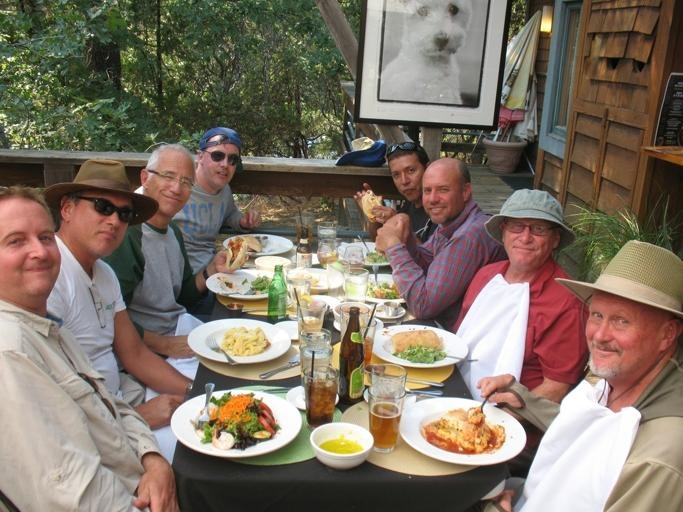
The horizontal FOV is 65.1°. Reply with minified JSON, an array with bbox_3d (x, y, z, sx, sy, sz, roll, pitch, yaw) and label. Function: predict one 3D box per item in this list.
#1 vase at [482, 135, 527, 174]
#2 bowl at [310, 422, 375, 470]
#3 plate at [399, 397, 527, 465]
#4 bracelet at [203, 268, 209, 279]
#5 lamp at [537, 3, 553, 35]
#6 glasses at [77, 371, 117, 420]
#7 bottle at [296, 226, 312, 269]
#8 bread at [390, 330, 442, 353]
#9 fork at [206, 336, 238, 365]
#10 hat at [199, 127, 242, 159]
[{"bbox_3d":[3.133,-1.950,10.292,0.726,0.492,0.704,1,11,1],"label":"vase"},{"bbox_3d":[0.000,0.702,1.932,0.221,0.087,0.217,4,8,-1],"label":"bowl"},{"bbox_3d":[0.498,0.638,2.115,0.416,0.047,0.420,24,6,10],"label":"plate"},{"bbox_3d":[-0.939,0.123,3.686,0.029,0.077,0.058,-3,2,2],"label":"bracelet"},{"bbox_3d":[3.556,-4.083,9.223,0.127,0.480,0.315,-8,19,-15],"label":"lamp"},{"bbox_3d":[-0.979,0.555,2.185,0.145,0.184,0.069,15,52,39],"label":"glasses"},{"bbox_3d":[-0.259,-0.045,3.712,0.142,0.338,0.137,2,30,-1],"label":"bottle"},{"bbox_3d":[0.365,0.416,2.640,0.178,0.059,0.118,-1,2,-5],"label":"bread"},{"bbox_3d":[-0.573,0.410,2.535,0.069,0.056,0.399,-4,18,-25],"label":"fork"},{"bbox_3d":[-1.011,-0.954,4.512,0.270,0.152,0.265,-13,17,-43],"label":"hat"}]
